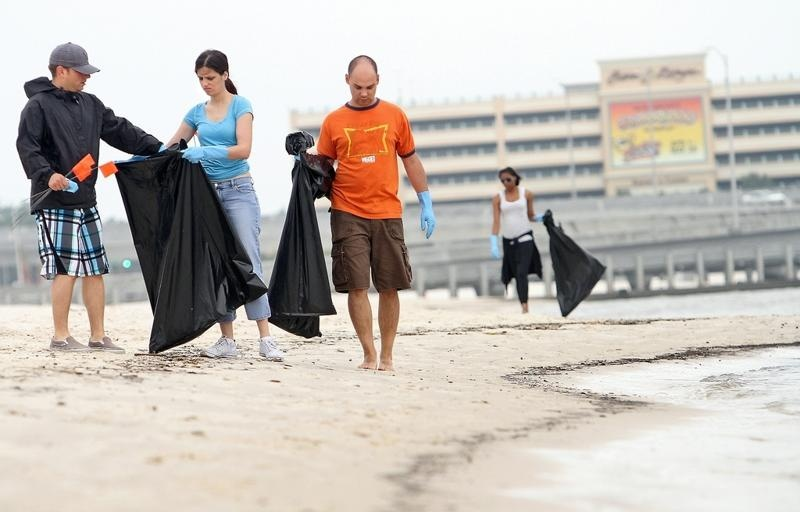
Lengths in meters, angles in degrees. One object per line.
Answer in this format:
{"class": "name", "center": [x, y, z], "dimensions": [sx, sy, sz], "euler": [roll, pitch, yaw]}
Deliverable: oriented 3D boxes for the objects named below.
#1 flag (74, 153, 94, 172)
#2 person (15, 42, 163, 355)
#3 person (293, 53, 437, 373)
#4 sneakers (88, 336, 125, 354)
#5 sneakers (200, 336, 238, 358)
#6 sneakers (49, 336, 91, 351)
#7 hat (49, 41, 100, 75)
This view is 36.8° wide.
{"class": "flag", "center": [-3.567, -1.063, 13.620], "dimensions": [0.214, 0.147, 0.211], "euler": [-32, 17, -7]}
{"class": "person", "center": [-3.671, -0.674, 13.733], "dimensions": [1.268, 3.139, 0.497], "euler": [-3, 1, -13]}
{"class": "person", "center": [-0.270, -0.492, 14.055], "dimensions": [1.136, 2.792, 0.747], "euler": [-3, 1, -38]}
{"class": "sneakers", "center": [-3.379, 1.008, 13.786], "dimensions": [0.461, 0.169, 0.168], "euler": [4, 1, 10]}
{"class": "sneakers", "center": [-2.070, 1.046, 13.934], "dimensions": [0.455, 0.198, 0.186], "euler": [2, 1, -25]}
{"class": "sneakers", "center": [-3.808, 1.001, 13.764], "dimensions": [0.318, 0.110, 0.189], "euler": [1, 1, 8]}
{"class": "hat", "center": [-3.744, -2.276, 13.781], "dimensions": [0.607, 0.322, 0.434], "euler": [10, 14, 24]}
